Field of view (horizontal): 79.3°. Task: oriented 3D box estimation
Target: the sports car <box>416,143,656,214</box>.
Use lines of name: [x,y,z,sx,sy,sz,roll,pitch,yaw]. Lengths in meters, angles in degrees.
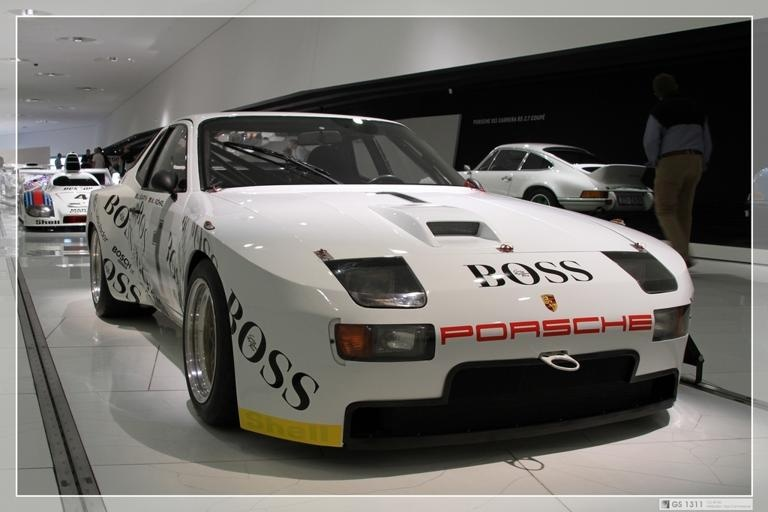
sports car: [2.598,-1.191,7.953,1.600,0.919,3.167,1,11,-37]
